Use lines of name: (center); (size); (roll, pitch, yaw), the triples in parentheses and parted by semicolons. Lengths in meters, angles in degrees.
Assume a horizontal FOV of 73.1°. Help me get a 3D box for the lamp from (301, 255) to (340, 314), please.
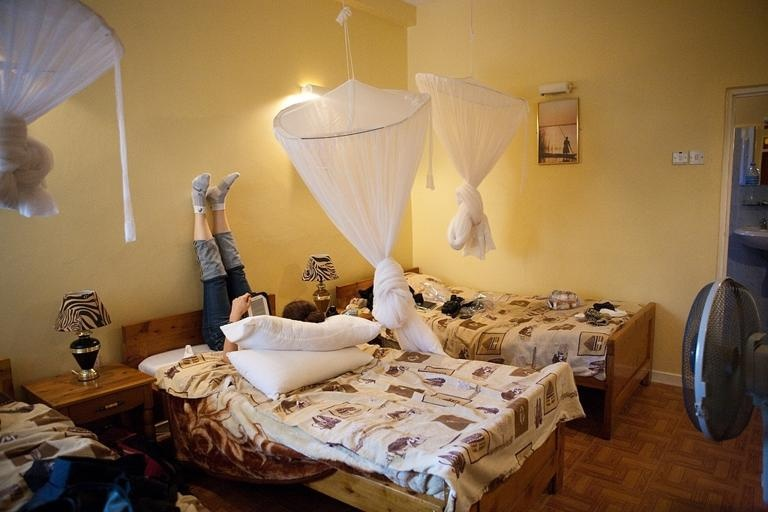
lamp: (-0.592, 0.306, 4.788); (0.327, 0.583, 0.313); (1, 0, 9)

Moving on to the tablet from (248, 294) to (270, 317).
tablet: (-0.955, 0.374, 3.954); (0.036, 0.152, 0.157); (-4, -9, 39)

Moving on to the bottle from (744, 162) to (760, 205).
bottle: (3.245, -0.640, 4.568); (0.135, 0.382, 0.075); (0, 15, 3)
